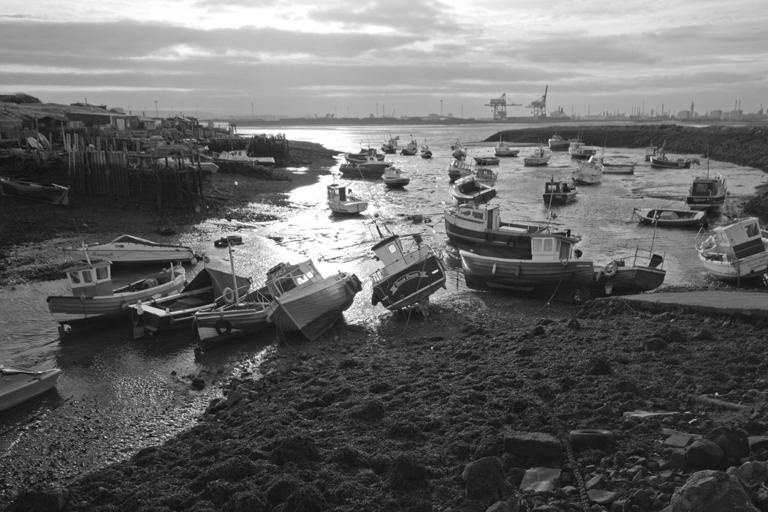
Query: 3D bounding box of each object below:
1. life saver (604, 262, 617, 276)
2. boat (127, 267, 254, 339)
[{"bbox_3d":[8.744,0.483,24.518,0.505,0.507,0.139,-14,-36,35],"label":"life saver"},{"bbox_3d":[-7.080,1.816,23.570,1.922,1.852,4.341,13,19,32],"label":"boat"}]
